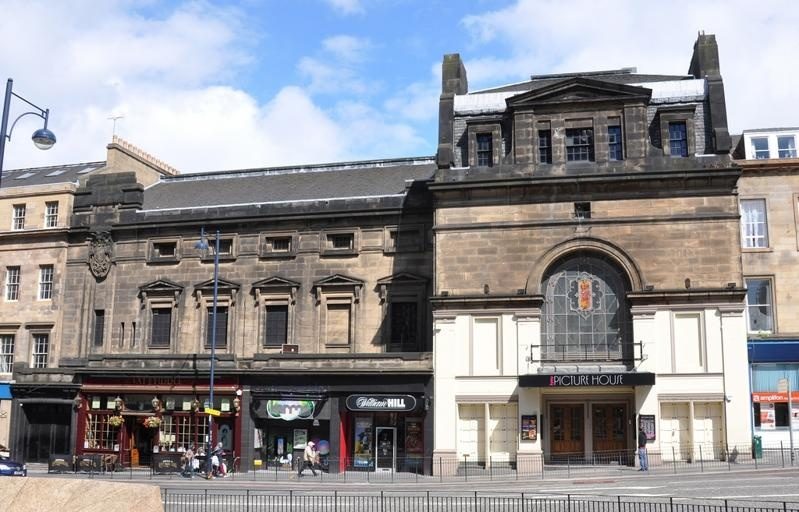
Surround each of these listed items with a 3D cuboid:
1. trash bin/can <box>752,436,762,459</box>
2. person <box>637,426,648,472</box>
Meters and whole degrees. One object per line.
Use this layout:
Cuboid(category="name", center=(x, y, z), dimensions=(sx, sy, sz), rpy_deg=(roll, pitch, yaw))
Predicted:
Cuboid(category="trash bin/can", center=(23.518, 12.834, 91.031), dimensions=(0.526, 1.577, 1.003), rpy_deg=(-11, -15, 36))
Cuboid(category="person", center=(16.114, 12.893, 91.237), dimensions=(0.628, 2.994, 1.287), rpy_deg=(-4, -12, 11))
